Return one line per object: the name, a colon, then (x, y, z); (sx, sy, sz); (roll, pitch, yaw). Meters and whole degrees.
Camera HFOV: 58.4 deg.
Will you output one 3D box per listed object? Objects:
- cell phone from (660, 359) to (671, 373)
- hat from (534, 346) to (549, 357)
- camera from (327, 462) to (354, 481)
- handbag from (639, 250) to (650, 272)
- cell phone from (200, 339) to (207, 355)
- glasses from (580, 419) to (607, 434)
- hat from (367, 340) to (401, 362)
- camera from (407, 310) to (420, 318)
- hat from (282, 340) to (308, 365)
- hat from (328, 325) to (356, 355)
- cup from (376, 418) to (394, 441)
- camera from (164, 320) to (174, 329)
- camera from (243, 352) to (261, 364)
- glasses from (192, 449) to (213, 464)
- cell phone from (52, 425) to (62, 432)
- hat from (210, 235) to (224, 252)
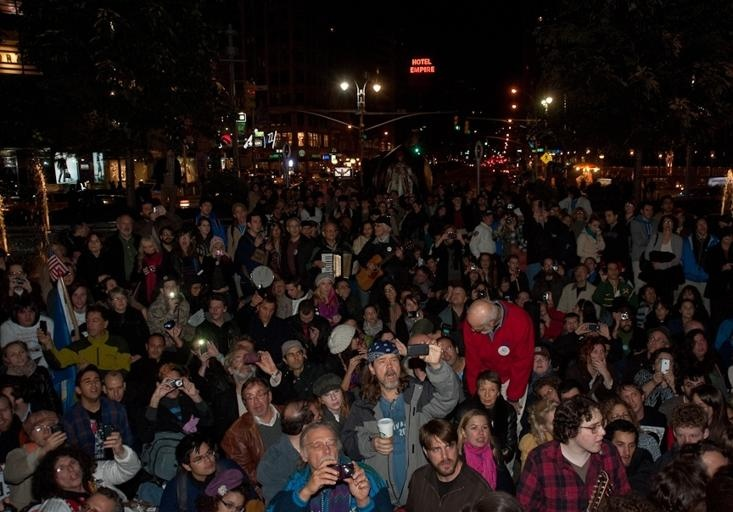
cell phone: (4.759, 1.756, 10.430); (0.153, 0.229, 0.064); (2, 5, -6)
hat: (2.916, 1.601, 10.909); (0.215, 0.168, 0.304); (4, 5, 17)
camera: (-0.284, 2.443, 7.417); (0.290, 0.208, 0.149); (2, 5, -7)
handbag: (6.530, 0.151, 15.364); (0.083, 0.381, 0.375); (2, -6, 11)
cell phone: (-2.721, 1.496, 10.978); (0.105, 0.181, 0.233); (1, 5, -17)
glasses: (2.737, 2.059, 7.973); (0.218, 0.073, 0.215); (-6, -7, 38)
hat: (0.230, 1.242, 8.496); (0.401, 0.307, 0.211); (3, 5, 1)
camera: (0.916, 1.114, 12.528); (0.260, 0.146, 0.144); (4, -1, 3)
hat: (-1.171, 1.527, 10.515); (0.317, 0.353, 0.326); (6, 6, 34)
hat: (-0.409, 1.447, 11.155); (0.475, 0.534, 0.423); (0, 6, -32)
cup: (0.234, 2.116, 8.058); (0.207, 0.200, 0.209); (-4, 8, 1)
camera: (-3.426, 1.208, 11.460); (0.180, 0.156, 0.164); (1, 5, -18)
camera: (-1.656, 1.474, 9.474); (0.189, 0.151, 0.320); (4, 5, 10)
glasses: (-2.115, 2.579, 8.445); (0.261, 0.151, 0.071); (0, 5, -28)
cell phone: (-4.138, 2.309, 8.795); (0.133, 0.087, 0.241); (0, 5, -29)
hat: (-3.217, -0.250, 14.069); (0.289, 0.342, 0.331); (1, 0, -20)
